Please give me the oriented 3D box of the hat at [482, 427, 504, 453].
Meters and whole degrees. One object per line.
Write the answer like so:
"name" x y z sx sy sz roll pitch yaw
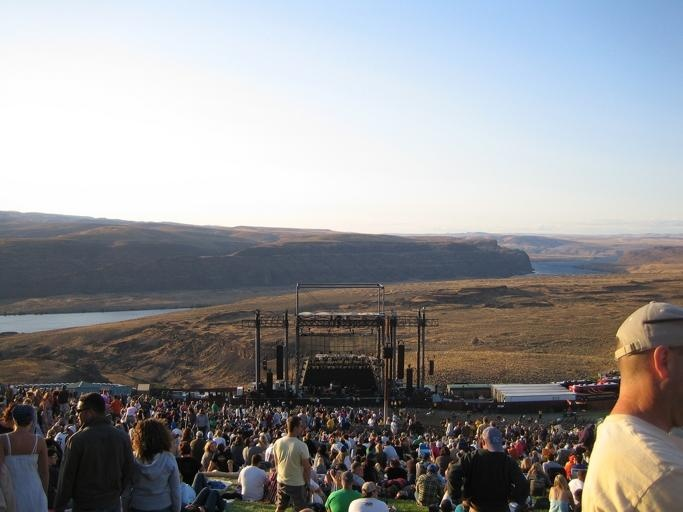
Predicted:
"hat" 2.640 3.117 15.151 0.358 0.338 0.478 -1 -1 7

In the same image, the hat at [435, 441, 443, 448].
"hat" 2.920 5.513 25.841 0.280 0.106 0.222 -1 -1 -38
